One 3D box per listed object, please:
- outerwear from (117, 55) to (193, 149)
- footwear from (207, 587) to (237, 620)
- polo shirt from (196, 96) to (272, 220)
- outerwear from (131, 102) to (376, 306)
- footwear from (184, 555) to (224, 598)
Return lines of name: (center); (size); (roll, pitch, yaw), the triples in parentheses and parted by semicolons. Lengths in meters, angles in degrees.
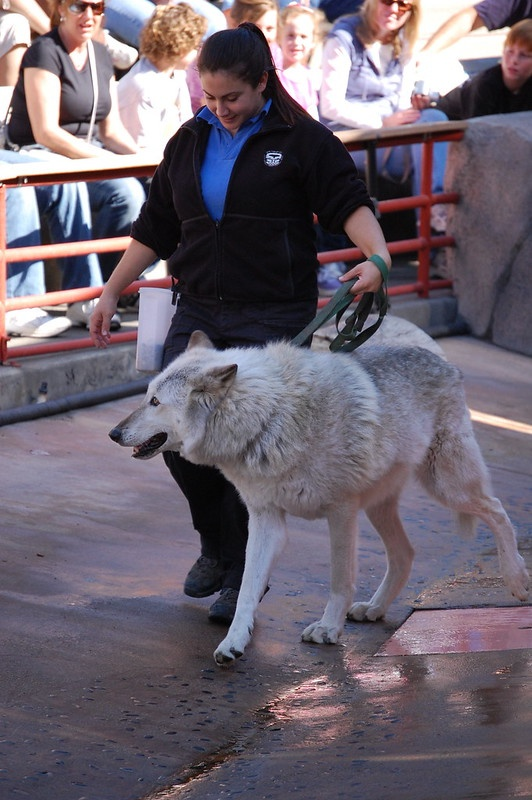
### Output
outerwear: (-0.950, -2.467, 7.506); (0.512, 0.668, 0.784); (15, 44, 9)
footwear: (-0.171, 0.788, 3.566); (0.065, 0.065, 0.160); (8, 8, 9)
polo shirt: (-0.161, -0.867, 3.337); (0.269, 0.446, 0.129); (12, 10, 30)
outerwear: (-0.070, -0.741, 3.451); (1.095, 0.729, 0.392); (8, 23, 28)
footwear: (-0.231, 0.690, 3.716); (0.093, 0.092, 0.225); (24, 38, 27)
